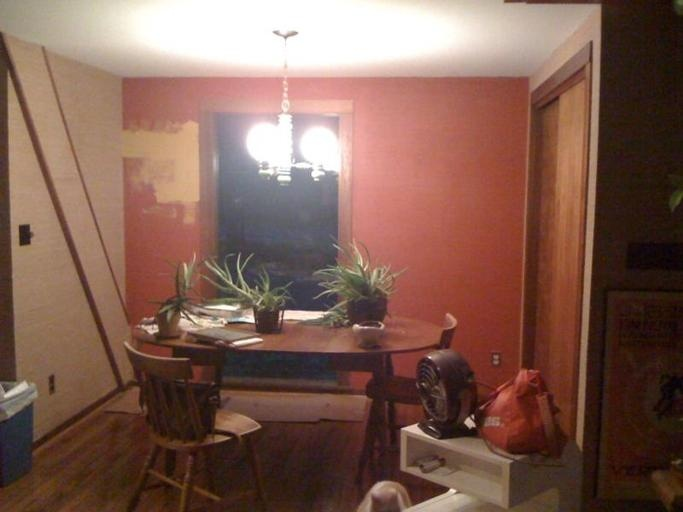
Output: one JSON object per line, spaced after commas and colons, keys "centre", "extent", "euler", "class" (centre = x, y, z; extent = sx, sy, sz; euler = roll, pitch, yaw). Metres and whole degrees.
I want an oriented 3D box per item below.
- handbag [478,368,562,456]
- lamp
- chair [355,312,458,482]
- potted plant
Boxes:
{"centre": [0.717, 0.677, 2.421], "extent": [0.290, 0.348, 0.499], "euler": [11, -17, -6], "class": "handbag"}
{"centre": [-0.282, -0.837, 3.409], "extent": [0.510, 0.818, 0.620], "euler": [-2, 7, 1], "class": "lamp"}
{"centre": [0.333, 0.814, 3.131], "extent": [0.579, 0.905, 0.541], "euler": [6, -11, -19], "class": "chair"}
{"centre": [-0.270, 0.174, 3.308], "extent": [1.114, 0.410, 0.550], "euler": [-3, 8, 8], "class": "potted plant"}
